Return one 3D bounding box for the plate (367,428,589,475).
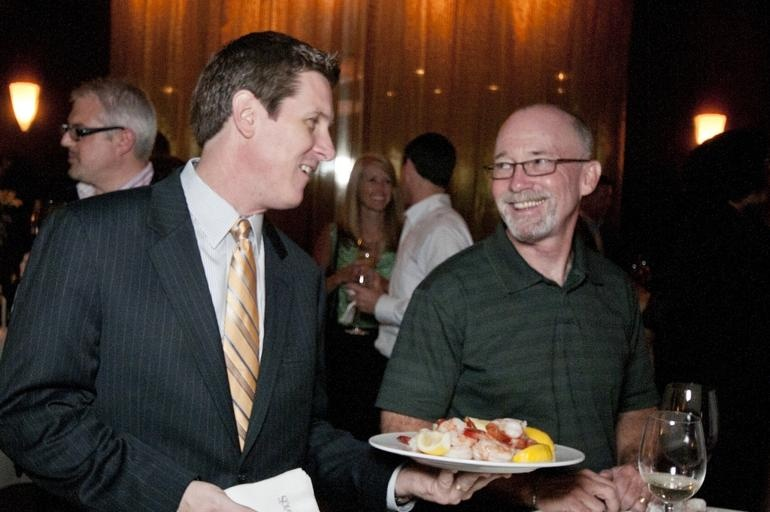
[{"bbox_3d":[0.262,0.547,1.691,0.605,0.103,0.302,1,5,-2],"label":"plate"}]

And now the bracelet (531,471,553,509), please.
[{"bbox_3d":[0.548,0.821,2.104,0.095,0.027,0.096,-10,41,15],"label":"bracelet"}]

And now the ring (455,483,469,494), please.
[{"bbox_3d":[0.233,0.696,1.802,0.030,0.023,0.009,-6,11,30],"label":"ring"}]
